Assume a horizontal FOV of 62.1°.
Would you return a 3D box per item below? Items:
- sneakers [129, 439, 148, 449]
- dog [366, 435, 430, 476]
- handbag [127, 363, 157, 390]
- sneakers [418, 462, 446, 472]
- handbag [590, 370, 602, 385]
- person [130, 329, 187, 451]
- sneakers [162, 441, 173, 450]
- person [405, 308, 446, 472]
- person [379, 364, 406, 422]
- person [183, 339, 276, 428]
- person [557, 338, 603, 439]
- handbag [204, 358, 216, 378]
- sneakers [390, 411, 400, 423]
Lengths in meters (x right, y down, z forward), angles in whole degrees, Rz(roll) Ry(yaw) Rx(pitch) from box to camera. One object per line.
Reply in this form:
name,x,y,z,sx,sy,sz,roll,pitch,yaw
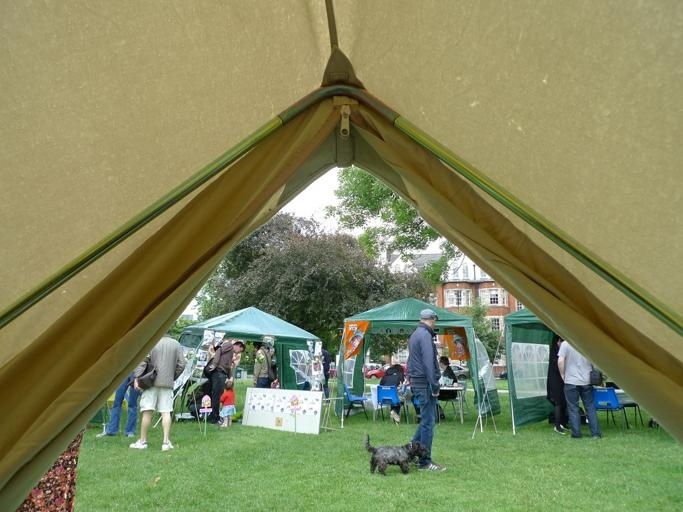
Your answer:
sneakers,-2.915,2.674,8.061,0.295,0.149,0.125,-4,-22,16
dog,0.583,2.466,6.973,0.940,0.647,0.344,4,-23,-11
handbag,-2.790,1.692,7.868,0.404,0.424,0.328,-2,7,-34
sneakers,1.100,2.615,7.013,0.342,0.164,0.129,0,-12,-1
handbag,4.201,1.992,9.334,0.133,0.267,0.494,-4,-8,33
person,-2.604,1.917,7.971,0.708,1.604,1.218,3,-7,-21
sneakers,-2.491,2.696,8.046,0.079,0.094,0.204,1,-12,3
person,1.016,1.656,7.036,0.435,1.973,0.602,-1,-6,10
person,1.024,2.747,11.381,0.477,1.104,1.359,0,-7,6
person,-2.269,2.517,11.179,0.616,0.889,1.761,9,-32,-42
person,3.897,2.184,9.292,0.603,1.523,0.510,-1,-6,14
handbag,-2.503,2.105,10.600,0.122,0.354,0.226,18,-21,-31
sneakers,1.023,3.171,11.148,0.125,0.114,0.311,14,7,-10
